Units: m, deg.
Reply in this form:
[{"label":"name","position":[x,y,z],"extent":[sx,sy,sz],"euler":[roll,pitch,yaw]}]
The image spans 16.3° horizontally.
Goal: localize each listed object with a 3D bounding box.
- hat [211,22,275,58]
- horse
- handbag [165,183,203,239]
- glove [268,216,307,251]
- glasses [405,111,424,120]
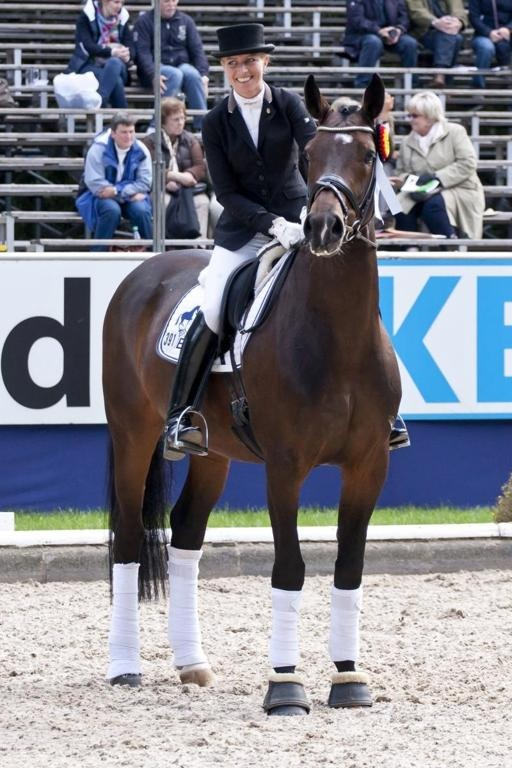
[{"label":"hat","position":[-0.072,-1.689,8.755],"extent":[0.286,0.178,0.232],"euler":[2,11,-2]},{"label":"horse","position":[-0.092,-0.012,8.801],"extent":[0.790,3.089,1.789],"euler":[-7,14,-41]},{"label":"handbag","position":[-0.579,-1.304,13.389],"extent":[0.233,0.387,0.128],"euler":[-1,-5,-2]},{"label":"glove","position":[0.137,-0.732,8.547],"extent":[0.075,0.130,0.156],"euler":[-24,36,-37]},{"label":"glasses","position":[1.240,-2.108,13.927],"extent":[0.086,0.081,0.122],"euler":[4,12,11]}]
